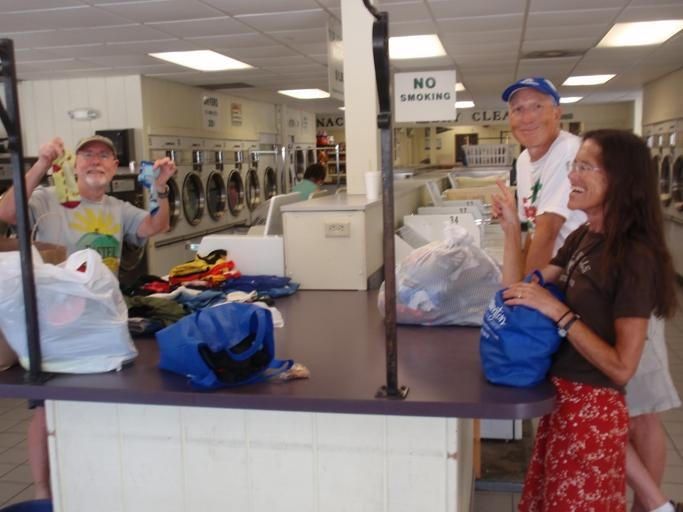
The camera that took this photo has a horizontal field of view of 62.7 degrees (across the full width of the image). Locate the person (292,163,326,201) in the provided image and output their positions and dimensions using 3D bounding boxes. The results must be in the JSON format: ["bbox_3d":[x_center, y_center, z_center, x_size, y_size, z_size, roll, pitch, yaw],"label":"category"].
[{"bbox_3d":[-0.397,-0.978,7.363,0.355,0.419,0.741,-1,11,-4],"label":"person"}]

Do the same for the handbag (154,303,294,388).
[{"bbox_3d":[-0.373,0.280,1.758,0.253,0.153,0.334,-14,2,-23],"label":"handbag"}]

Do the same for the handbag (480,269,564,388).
[{"bbox_3d":[0.554,0.197,1.757,0.189,0.370,0.277,-1,14,-7],"label":"handbag"}]

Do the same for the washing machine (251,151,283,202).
[{"bbox_3d":[-1.458,-1.388,10.982,0.527,0.824,0.503,-2,7,-28],"label":"washing machine"}]

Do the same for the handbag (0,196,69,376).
[{"bbox_3d":[-1.160,0.121,2.120,0.230,0.426,0.606,-6,12,-27],"label":"handbag"}]
